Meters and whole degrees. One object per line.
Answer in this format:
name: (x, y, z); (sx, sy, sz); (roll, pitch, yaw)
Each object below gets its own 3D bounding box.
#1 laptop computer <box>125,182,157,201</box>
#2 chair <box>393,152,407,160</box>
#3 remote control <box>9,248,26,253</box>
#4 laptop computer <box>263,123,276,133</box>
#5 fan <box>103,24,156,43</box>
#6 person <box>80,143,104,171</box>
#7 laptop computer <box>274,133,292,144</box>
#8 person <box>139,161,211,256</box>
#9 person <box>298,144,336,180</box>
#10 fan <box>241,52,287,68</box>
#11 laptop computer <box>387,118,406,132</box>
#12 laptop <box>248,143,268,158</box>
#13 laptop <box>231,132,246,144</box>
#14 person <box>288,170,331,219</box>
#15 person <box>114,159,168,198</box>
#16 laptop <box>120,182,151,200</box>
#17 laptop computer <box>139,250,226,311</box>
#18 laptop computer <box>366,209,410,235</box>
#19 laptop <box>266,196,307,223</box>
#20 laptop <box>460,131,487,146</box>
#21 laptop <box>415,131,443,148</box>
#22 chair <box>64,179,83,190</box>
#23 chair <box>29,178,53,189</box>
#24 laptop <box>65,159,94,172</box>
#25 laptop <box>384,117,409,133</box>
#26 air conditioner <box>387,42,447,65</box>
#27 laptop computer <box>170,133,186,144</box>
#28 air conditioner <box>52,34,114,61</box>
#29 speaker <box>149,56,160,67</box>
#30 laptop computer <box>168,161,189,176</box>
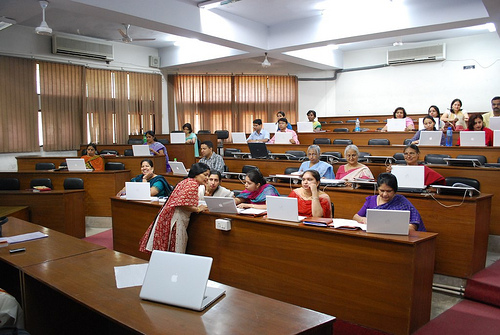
laptop computer: (-1.659, 0.331, 4.694); (0.393, 0.235, 0.268); (0, 1, 7)
chair: (2.901, -0.214, 6.165); (0.189, 0.120, 0.131); (1, 6, 6)
remote control: (-2.191, 0.773, 2.997); (0.149, 0.025, 0.037); (-2, 7, 15)
laptop computer: (0.571, -1.120, 9.291); (0.337, 0.544, 0.329); (0, 1, -2)
fan: (-3.841, -3.938, 9.806); (0.910, 0.569, 3.108); (3, 10, -33)
person: (-3.880, -0.105, 7.712); (0.597, 0.804, 0.452); (0, -10, -15)
laptop computer: (0.824, -0.718, 7.872); (0.412, 0.279, 0.240); (8, 9, -2)
person: (-0.928, 0.542, 4.056); (0.739, 1.179, 0.453); (4, 10, -27)
person: (1.204, -0.090, 5.671); (0.725, 0.672, 0.404); (3, 3, 44)
fan: (0.463, -3.649, 10.804); (0.782, 0.293, 0.882); (5, 8, 39)
laptop computer: (3.550, -1.024, 7.688); (0.461, 0.310, 0.337); (2, 3, 33)
laptop: (0.169, -0.374, 7.004); (0.432, 0.276, 0.314); (3, 11, 32)
laptop: (-0.294, -0.759, 8.256); (0.372, 0.234, 0.265); (3, 11, 19)
person: (0.762, 0.359, 4.072); (0.458, 0.907, 0.315); (-7, -19, 37)
person: (-1.756, 0.243, 5.310); (0.858, 0.690, 0.550); (-1, 12, 15)
laptop: (-1.655, 0.351, 4.670); (0.380, 0.216, 0.260); (0, 3, 6)
laptop computer: (-0.489, 0.808, 2.397); (0.512, 0.329, 0.419); (4, -5, 15)
laptop computer: (1.351, 0.524, 3.063); (0.380, 0.239, 0.258); (1, 2, 16)
laptop: (0.460, 0.446, 3.668); (0.429, 0.246, 0.314); (0, 4, 41)
laptop: (4.217, -0.476, 6.020); (0.418, 0.266, 0.296); (1, 3, 34)
laptop: (3.602, -0.582, 6.406); (0.607, 0.396, 0.437); (2, 7, 20)
chair: (-3.476, 0.323, 6.244); (0.234, 0.290, 0.248); (1, -2, -16)
chair: (-4.247, 0.312, 6.442); (0.254, 0.315, 0.277); (1, -3, -24)
laptop: (-3.960, -0.045, 7.303); (0.505, 0.305, 0.350); (2, 6, 13)
laptop: (3.597, -1.013, 7.722); (0.538, 0.342, 0.393); (1, 1, 39)
air conditioner: (5.876, -3.948, 11.323); (1.803, 0.544, 0.299); (-1, 3, 19)
laptop computer: (-2.043, -0.802, 8.973); (0.498, 0.324, 0.268); (0, 1, -7)
air conditioner: (-5.361, -3.824, 10.297); (1.685, 0.561, 0.249); (-4, 27, -36)
speaker: (-3.584, -3.910, 11.804); (0.212, 0.378, 0.428); (3, 6, 30)
laptop computer: (-1.401, -0.003, 6.513); (0.489, 0.299, 0.338); (3, 18, 35)
